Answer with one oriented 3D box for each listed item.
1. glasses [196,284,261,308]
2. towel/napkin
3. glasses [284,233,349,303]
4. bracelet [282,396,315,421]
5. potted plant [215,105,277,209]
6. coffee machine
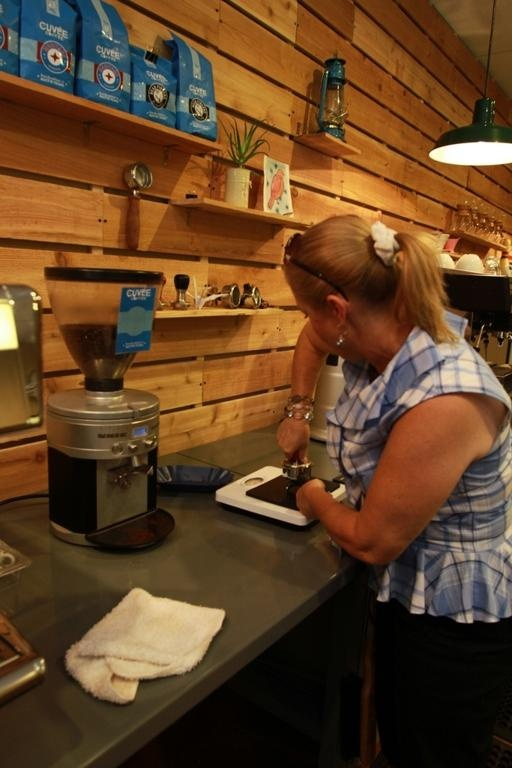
[{"bbox_3d":[-0.108,-0.275,1.782,0.171,0.063,0.109,1,3,30],"label":"glasses"},{"bbox_3d":[-0.160,0.359,0.749,0.193,0.052,0.199,7,14,24],"label":"towel/napkin"},{"bbox_3d":[0.090,-0.201,0.928,0.057,0.110,0.154,-1,9,-26],"label":"glasses"},{"bbox_3d":[0.116,0.063,1.391,0.054,0.059,0.068,5,-3,3],"label":"bracelet"},{"bbox_3d":[-0.052,-0.689,1.715,0.141,0.222,0.169,21,28,23],"label":"potted plant"},{"bbox_3d":[-0.290,0.048,1.101,0.254,0.544,0.237,0,8,-21],"label":"coffee machine"}]
